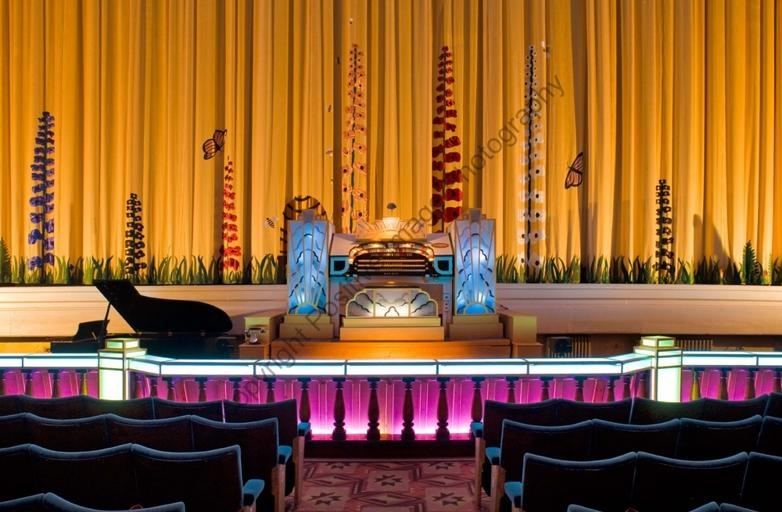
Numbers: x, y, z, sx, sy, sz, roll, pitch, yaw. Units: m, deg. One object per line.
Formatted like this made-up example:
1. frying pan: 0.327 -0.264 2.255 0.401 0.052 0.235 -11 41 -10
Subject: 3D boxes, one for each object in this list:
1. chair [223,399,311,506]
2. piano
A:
1. chair: -2.264 2.985 21.716 1.500 1.801 1.531 1 -2 -1
2. piano: -3.936 1.031 24.031 2.218 1.365 1.247 3 2 0
